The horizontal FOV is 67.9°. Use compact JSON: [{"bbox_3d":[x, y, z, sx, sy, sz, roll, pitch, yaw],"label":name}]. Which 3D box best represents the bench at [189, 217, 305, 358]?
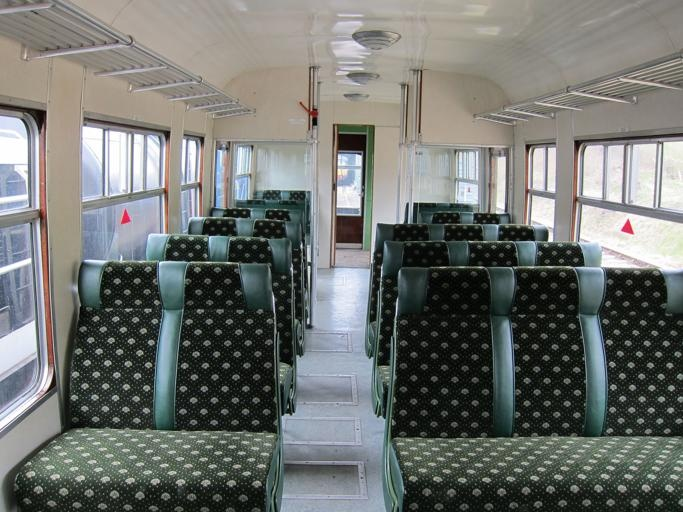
[{"bbox_3d":[-0.934,0.178,5.580,1.232,1.794,1.477,0,-2,4],"label":"bench"}]
